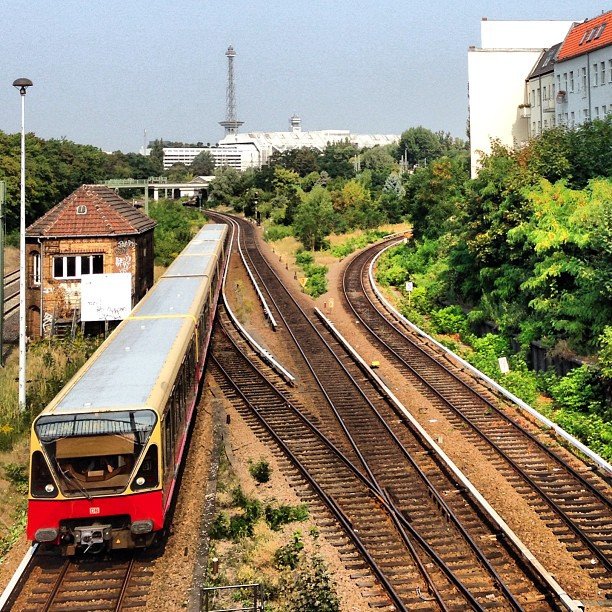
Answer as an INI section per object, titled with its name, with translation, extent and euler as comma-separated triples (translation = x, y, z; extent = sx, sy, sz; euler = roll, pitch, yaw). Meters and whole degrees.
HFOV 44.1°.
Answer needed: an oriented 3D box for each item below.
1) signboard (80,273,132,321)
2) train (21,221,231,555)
[signboard]
translation = -7.168, -0.310, 26.927
extent = 1.324, 1.766, 0.153
euler = 0, 8, -6
[train]
translation = -3.434, 0.437, 20.101
extent = 1.585, 2.548, 15.698
euler = 1, 19, 2
